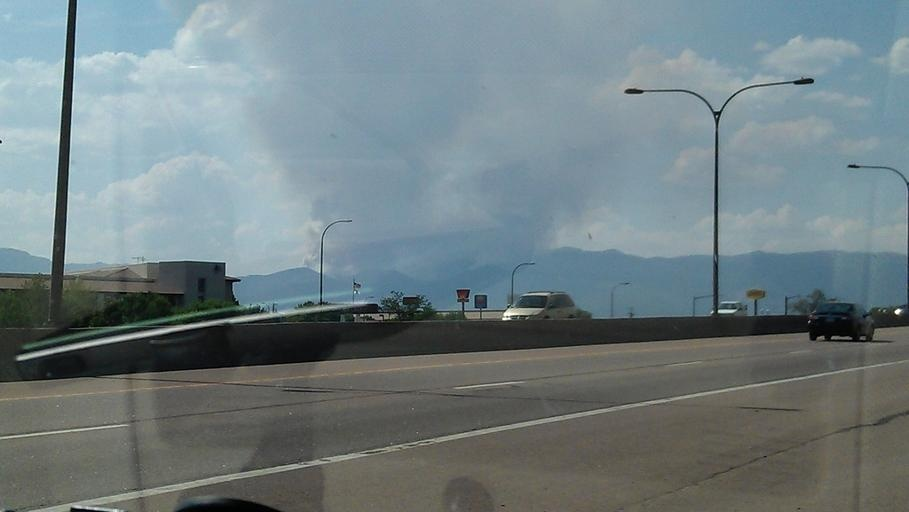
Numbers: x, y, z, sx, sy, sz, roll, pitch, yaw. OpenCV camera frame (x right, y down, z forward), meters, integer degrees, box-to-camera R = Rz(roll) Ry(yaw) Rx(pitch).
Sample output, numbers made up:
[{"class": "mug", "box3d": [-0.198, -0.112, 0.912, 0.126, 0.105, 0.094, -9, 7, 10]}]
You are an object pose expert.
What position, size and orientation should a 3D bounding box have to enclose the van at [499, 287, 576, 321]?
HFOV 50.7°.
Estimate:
[{"class": "van", "box3d": [4.511, 2.127, 48.530, 2.646, 2.190, 4.537, -7, -12, 32]}]
